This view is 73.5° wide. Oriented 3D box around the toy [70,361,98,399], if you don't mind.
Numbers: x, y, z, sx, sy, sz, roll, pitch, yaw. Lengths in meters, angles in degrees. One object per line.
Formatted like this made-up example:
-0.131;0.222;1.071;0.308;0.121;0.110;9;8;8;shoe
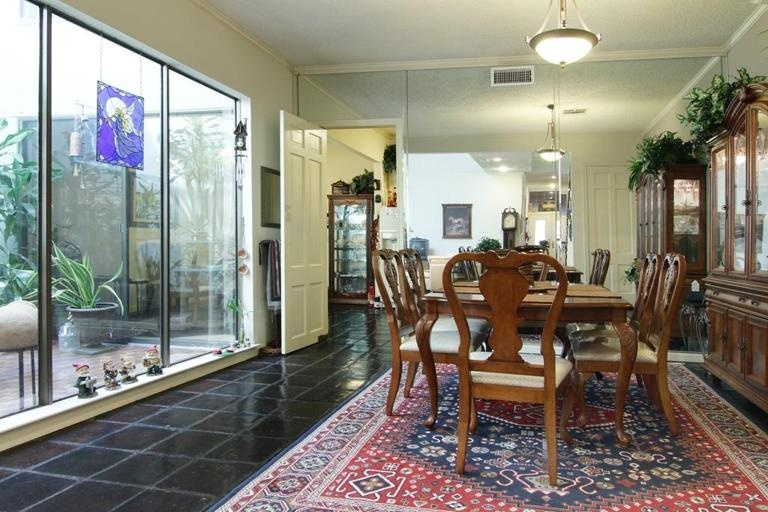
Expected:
-2.552;1.058;4.366;0.154;0.251;0.203;-8;13;-34;toy

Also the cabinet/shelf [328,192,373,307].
-0.653;-0.132;9.788;0.852;2.054;0.510;0;11;5;cabinet/shelf

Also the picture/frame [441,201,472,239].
0.918;-0.448;6.361;0.519;0.540;0.059;0;1;10;picture/frame

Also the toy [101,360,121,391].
-2.456;1.038;4.602;0.125;0.233;0.305;-7;12;-30;toy

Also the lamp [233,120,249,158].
-1.660;-1.372;5.938;0.165;0.417;0.196;-4;11;-15;lamp

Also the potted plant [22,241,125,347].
-2.787;0.408;4.746;0.811;0.755;0.749;-3;-2;16;potted plant

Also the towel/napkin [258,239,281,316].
-1.361;0.246;6.143;0.254;0.860;0.185;-3;11;-12;towel/napkin

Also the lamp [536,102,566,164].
2.020;-1.506;6.276;0.313;0.699;0.310;-1;11;-2;lamp
